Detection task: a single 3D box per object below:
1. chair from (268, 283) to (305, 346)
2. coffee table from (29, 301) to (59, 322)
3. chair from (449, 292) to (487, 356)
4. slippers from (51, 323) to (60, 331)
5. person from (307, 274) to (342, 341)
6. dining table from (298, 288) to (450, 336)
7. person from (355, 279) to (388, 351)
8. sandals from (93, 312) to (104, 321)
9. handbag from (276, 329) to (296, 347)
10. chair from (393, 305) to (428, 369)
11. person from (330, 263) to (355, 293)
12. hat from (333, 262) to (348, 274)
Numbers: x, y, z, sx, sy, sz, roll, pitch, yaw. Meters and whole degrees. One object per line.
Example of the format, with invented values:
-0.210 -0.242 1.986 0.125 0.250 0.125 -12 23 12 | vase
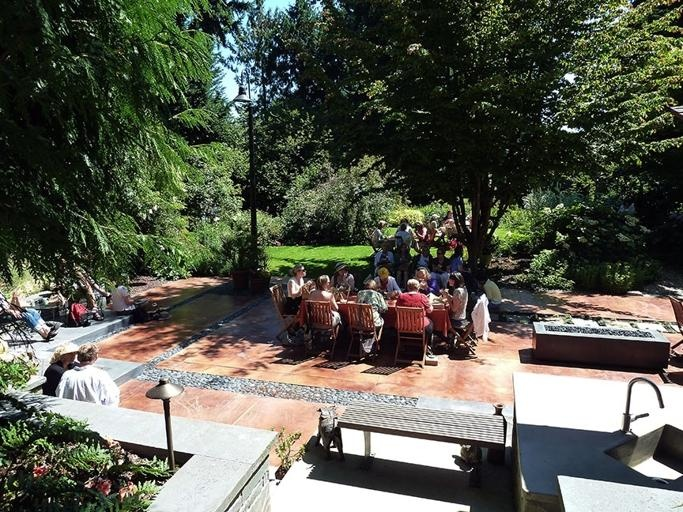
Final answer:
-1.169 1.384 9.907 0.954 1.204 0.803 3 1 -2 | chair
-6.949 1.333 10.159 0.553 0.530 0.489 0 -2 -29 | coffee table
2.727 1.626 9.349 0.713 0.796 0.759 2 2 43 | chair
-6.195 1.538 9.366 0.192 0.169 0.198 4 -9 -3 | slippers
-0.317 0.964 9.067 0.778 1.034 0.717 7 9 17 | person
0.292 1.037 8.861 2.258 0.506 1.290 0 4 13 | dining table
0.607 1.285 8.924 0.546 1.495 0.755 1 7 36 | person
-5.905 1.464 10.502 0.212 0.250 0.117 -8 7 -38 | sandals
-1.282 1.823 9.998 0.402 0.363 0.772 -6 5 -26 | handbag
1.399 1.634 8.722 0.787 1.333 1.151 0 35 11 | chair
0.010 0.597 11.209 0.578 0.775 0.472 -11 17 13 | person
-0.065 0.294 10.115 0.265 0.102 0.288 -20 -10 -34 | hat
